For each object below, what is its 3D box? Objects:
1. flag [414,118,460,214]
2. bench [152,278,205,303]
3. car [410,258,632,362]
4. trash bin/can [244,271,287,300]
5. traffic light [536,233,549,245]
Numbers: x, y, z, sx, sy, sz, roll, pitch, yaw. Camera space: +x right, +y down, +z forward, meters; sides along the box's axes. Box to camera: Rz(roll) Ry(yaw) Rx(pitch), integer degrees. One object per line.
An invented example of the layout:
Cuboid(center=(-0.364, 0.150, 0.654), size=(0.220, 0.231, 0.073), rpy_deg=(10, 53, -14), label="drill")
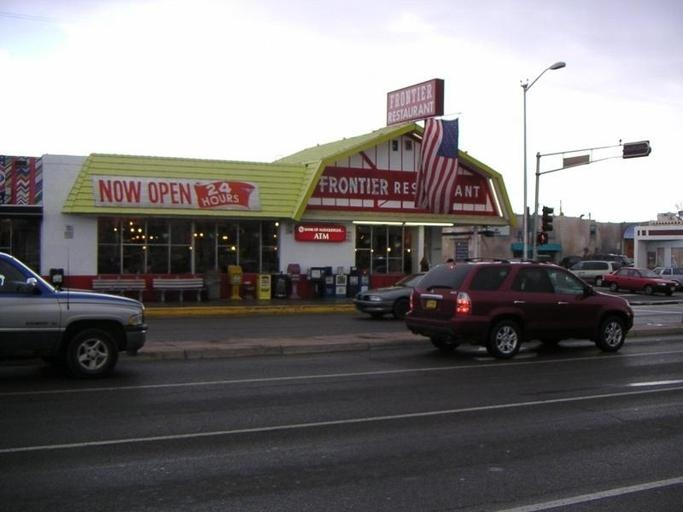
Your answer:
Cuboid(center=(4.510, -4.343, 32.642), size=(2.044, 4.416, 0.696), rpy_deg=(0, 2, -27), label="flag")
Cuboid(center=(-6.826, 1.336, 28.671), size=(2.100, 0.975, 1.176), rpy_deg=(0, 2, -19), label="bench")
Cuboid(center=(4.267, 1.168, 15.892), size=(5.423, 2.091, 1.673), rpy_deg=(0, 2, -20), label="car")
Cuboid(center=(-3.331, 1.318, 30.436), size=(2.211, 1.101, 0.886), rpy_deg=(0, 2, -10), label="trash bin/can")
Cuboid(center=(10.240, -0.913, 35.214), size=(0.466, 0.646, 0.900), rpy_deg=(1, 6, 7), label="traffic light")
